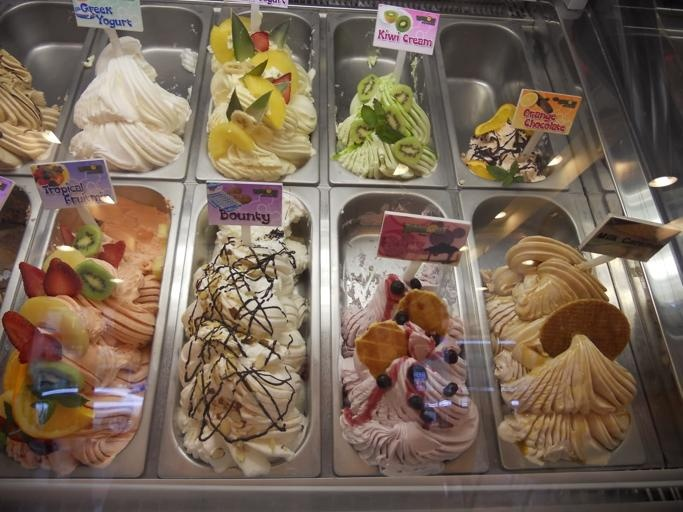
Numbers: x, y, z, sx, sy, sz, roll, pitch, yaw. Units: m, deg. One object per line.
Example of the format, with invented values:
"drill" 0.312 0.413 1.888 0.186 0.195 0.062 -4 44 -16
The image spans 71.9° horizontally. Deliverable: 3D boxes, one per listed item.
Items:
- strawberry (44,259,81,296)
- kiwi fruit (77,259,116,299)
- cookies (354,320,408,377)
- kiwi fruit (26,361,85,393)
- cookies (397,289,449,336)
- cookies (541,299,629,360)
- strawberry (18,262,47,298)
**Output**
"strawberry" -0.924 0.079 1.588 0.104 0.122 0.056 -13 24 -2
"kiwi fruit" -0.840 0.082 1.593 0.125 0.091 0.098 27 50 15
"cookies" 0.115 0.289 1.505 0.164 0.047 0.171 -2 85 -4
"kiwi fruit" -0.855 0.358 1.393 0.126 0.096 0.092 -23 38 -29
"cookies" 0.280 0.184 1.570 0.178 0.096 0.100 26 49 14
"cookies" 0.805 0.237 1.557 0.293 0.126 0.139 0 48 -10
"strawberry" -1.014 0.078 1.545 0.088 0.041 0.117 -16 92 -35
